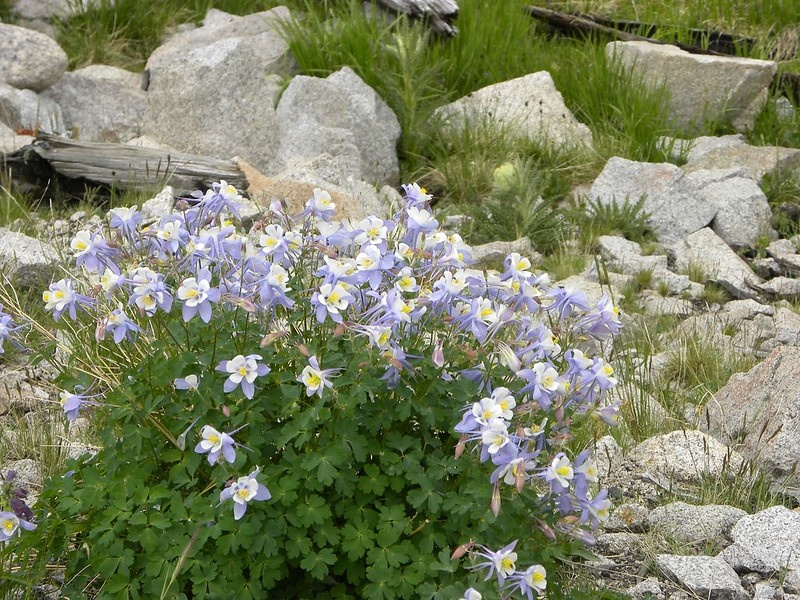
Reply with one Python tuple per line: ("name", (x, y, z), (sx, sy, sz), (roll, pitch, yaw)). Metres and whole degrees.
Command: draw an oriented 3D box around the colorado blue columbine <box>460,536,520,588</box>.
("colorado blue columbine", (0.493, 1.356, 5.833), (0.182, 0.078, 0.263), (12, 90, 1))
